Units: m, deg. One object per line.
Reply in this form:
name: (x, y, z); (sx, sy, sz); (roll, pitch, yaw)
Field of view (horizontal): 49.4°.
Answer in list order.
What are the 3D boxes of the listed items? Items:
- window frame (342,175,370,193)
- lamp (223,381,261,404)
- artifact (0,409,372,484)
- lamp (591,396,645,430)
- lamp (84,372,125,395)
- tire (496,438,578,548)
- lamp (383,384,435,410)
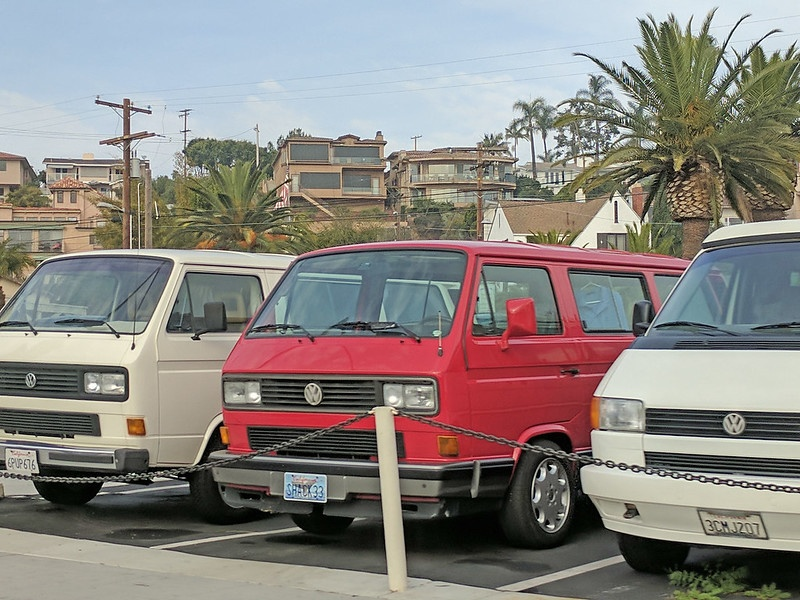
window frame: (-5.384, -13.330, 101.340); (2.554, 1.347, 0.091); (0, -11, -10)
lamp: (-1.456, 0.849, 7.929); (0.230, 0.109, 0.302); (0, -3, 15)
artifact: (-1.964, 1.358, 8.094); (3.358, 0.129, 0.486); (-11, 20, 31)
lamp: (1.596, 0.829, 6.429); (0.279, 0.159, 0.277); (-1, -5, 36)
lamp: (-2.901, 0.825, 8.570); (0.354, 0.153, 0.244); (3, 4, 17)
tire: (1.165, 1.694, 7.616); (0.330, 0.931, 1.018); (-3, -19, 44)
lamp: (0.067, 0.801, 7.164); (0.281, 0.122, 0.279); (0, 0, 33)
